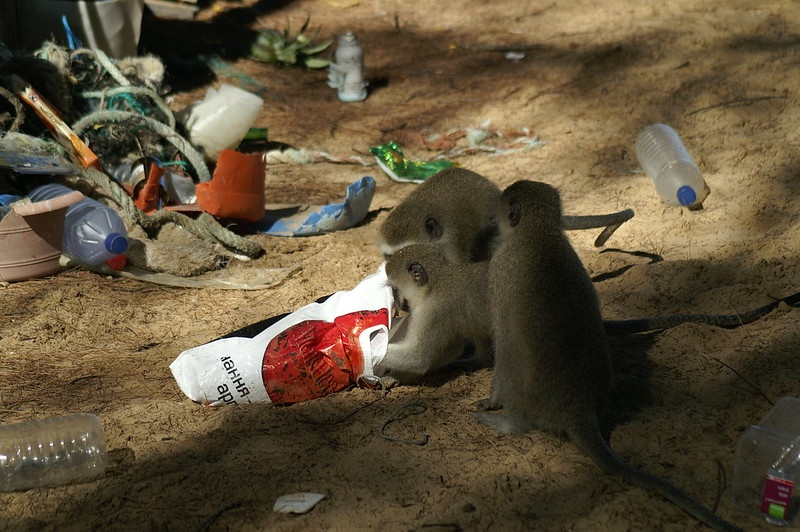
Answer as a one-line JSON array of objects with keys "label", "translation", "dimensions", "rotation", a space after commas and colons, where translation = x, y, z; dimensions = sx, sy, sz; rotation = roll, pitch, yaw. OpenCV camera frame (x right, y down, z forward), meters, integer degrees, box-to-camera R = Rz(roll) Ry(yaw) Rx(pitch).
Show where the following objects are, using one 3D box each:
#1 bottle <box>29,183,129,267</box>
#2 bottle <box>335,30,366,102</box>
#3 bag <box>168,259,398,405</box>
[{"label": "bottle", "translation": [-2.575, -0.244, 7.312], "dimensions": [0.609, 0.554, 0.373], "rotation": [10, 33, 26]}, {"label": "bottle", "translation": [-0.685, -2.674, 11.455], "dimensions": [0.417, 0.835, 0.475], "rotation": [-8, 29, -3]}, {"label": "bag", "translation": [-0.797, 0.628, 6.269], "dimensions": [1.316, 0.443, 0.833], "rotation": [-24, 29, 7]}]
